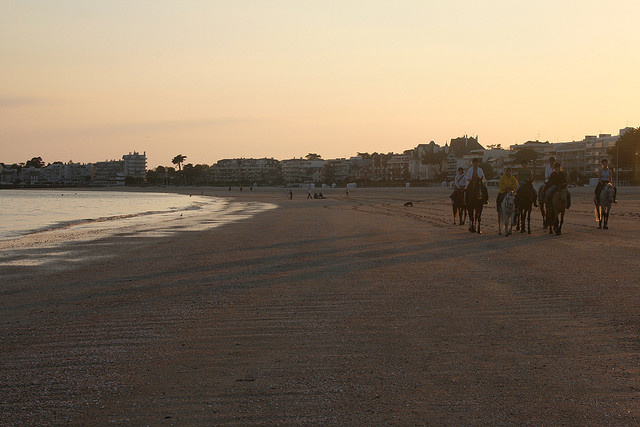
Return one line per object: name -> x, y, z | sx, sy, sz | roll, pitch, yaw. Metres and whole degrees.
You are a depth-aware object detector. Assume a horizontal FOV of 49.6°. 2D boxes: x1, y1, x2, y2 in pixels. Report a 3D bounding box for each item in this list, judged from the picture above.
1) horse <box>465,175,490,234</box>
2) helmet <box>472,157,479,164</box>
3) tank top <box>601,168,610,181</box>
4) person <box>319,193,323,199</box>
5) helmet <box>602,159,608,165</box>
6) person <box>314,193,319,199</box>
horse -> 5.484, -0.251, 24.200 | 0.756, 2.012, 1.890 | 0, 10, 12
helmet -> 5.372, -1.772, 23.505 | 0.280, 0.218, 0.322 | -2, 6, 1
tank top -> 10.343, -1.369, 24.959 | 0.276, 0.422, 0.382 | 2, 11, 21
person -> 0.170, -1.972, 80.436 | 0.448, 0.679, 0.744 | -2, 9, -3
helmet -> 10.050, -1.804, 24.274 | 0.194, 0.165, 0.235 | 1, -3, 3
person -> -0.394, -2.035, 82.102 | 0.822, 0.339, 1.041 | 2, 8, -3
